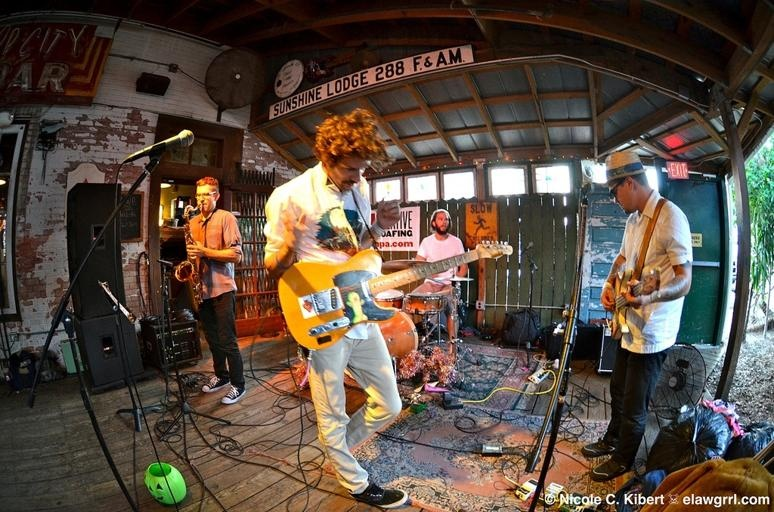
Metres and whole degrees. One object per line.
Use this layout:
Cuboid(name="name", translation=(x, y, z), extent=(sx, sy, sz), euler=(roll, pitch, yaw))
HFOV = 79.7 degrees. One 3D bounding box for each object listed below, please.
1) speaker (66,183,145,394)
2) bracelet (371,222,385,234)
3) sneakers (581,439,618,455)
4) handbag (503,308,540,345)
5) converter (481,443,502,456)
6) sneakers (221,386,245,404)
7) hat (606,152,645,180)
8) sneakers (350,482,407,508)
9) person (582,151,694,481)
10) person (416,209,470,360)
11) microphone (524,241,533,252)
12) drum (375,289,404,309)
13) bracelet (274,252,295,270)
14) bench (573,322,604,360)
Cuboid(name="speaker", translation=(-4.051, 0.425, 6.637), extent=(1.215, 2.973, 0.671), euler=(-3, -1, 29))
Cuboid(name="bracelet", translation=(-0.083, -0.288, 4.810), extent=(0.081, 0.115, 0.113), euler=(35, -5, -20))
Cuboid(name="sneakers", translation=(2.381, 2.167, 5.258), extent=(0.417, 0.165, 0.154), euler=(-11, 30, 18))
Cuboid(name="handbag", translation=(2.279, 1.256, 8.232), extent=(0.704, 0.722, 0.512), euler=(2, -5, -3))
Cuboid(name="converter", translation=(1.203, 2.194, 5.301), extent=(0.179, 0.044, 0.121), euler=(-1, 1, 7))
Cuboid(name="sneakers", translation=(-2.086, 1.857, 6.271), extent=(0.320, 0.228, 0.184), euler=(-2, -1, -26))
Cuboid(name="hat", translation=(2.530, -0.958, 4.976), extent=(0.383, 0.291, 0.278), euler=(-12, 3, 28))
Cuboid(name="sneakers", translation=(-0.144, 2.427, 4.852), extent=(0.689, 0.273, 0.233), euler=(1, 15, -4))
Cuboid(name="person", translation=(2.687, 0.623, 4.947), extent=(1.007, 3.685, 0.696), euler=(-3, -1, 32))
Cuboid(name="person", translation=(0.869, 0.456, 8.026), extent=(0.773, 2.517, 0.773), euler=(8, 22, 15))
Cuboid(name="microphone", translation=(2.520, -0.173, 8.206), extent=(0.146, 0.147, 0.268), euler=(-38, -14, 21))
Cuboid(name="drum", translation=(-0.012, 0.512, 5.599), extent=(0.397, 0.143, 0.405), euler=(-2, -2, 0))
Cuboid(name="bracelet", translation=(-1.020, 0.040, 4.498), extent=(0.203, 0.143, 0.050), euler=(-46, -17, 22))
Cuboid(name="bench", translation=(3.159, 1.355, 7.266), extent=(0.637, 0.577, 0.148), euler=(5, 7, 1))
